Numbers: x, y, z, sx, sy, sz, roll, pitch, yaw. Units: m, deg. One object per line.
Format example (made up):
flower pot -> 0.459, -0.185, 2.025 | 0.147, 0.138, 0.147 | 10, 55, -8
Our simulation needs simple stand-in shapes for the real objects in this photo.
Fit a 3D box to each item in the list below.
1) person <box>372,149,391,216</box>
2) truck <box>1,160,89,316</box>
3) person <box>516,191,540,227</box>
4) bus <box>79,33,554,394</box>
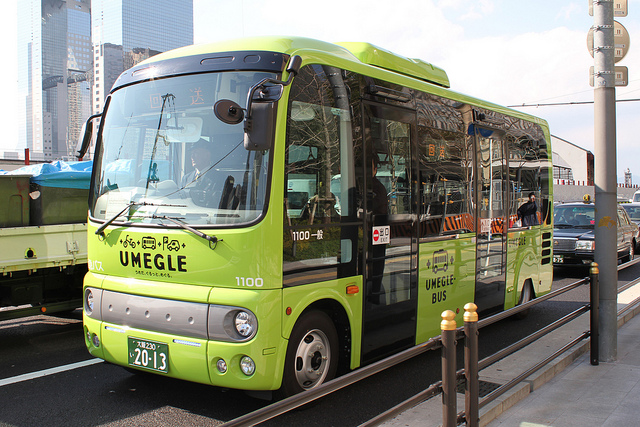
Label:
person -> 0.711, -0.419, 6.312 | 0.274, 0.890, 0.178 | -2, 3, -25
truck -> -4.585, 0.403, 8.013 | 0.944, 2.515, 1.591 | 1, 6, 34
person -> 4.013, -0.093, 9.365 | 0.596, 0.827, 0.319 | -5, 8, -28
bus -> -0.195, 0.166, 5.969 | 2.076, 2.525, 5.034 | 2, 3, 43
